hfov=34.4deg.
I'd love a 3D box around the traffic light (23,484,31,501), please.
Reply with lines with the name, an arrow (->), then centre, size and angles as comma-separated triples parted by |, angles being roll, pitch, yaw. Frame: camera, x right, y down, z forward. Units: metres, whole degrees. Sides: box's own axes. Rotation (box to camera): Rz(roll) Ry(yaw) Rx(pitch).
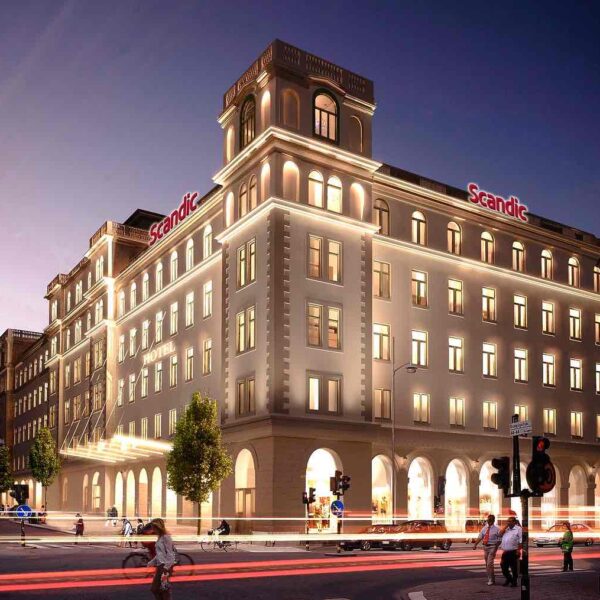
traffic light -> -13.681, 9.365, 48.573 | 0.270, 0.901, 2.149 | 3, -18, -12

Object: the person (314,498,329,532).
person -> 1.204, 11.545, 53.412 | 0.819, 1.966, 1.373 | 0, -15, 0

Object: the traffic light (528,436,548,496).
traffic light -> 5.614, 3.798, 22.885 | 0.578, 1.355, 0.738 | -4, -16, 17

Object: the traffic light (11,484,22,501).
traffic light -> -14.119, 9.339, 48.230 | 0.329, 0.836, 1.000 | 6, -18, -22

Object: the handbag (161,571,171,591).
handbag -> -3.179, 6.468, 22.773 | 0.296, 0.507, 0.204 | 14, -18, -42
